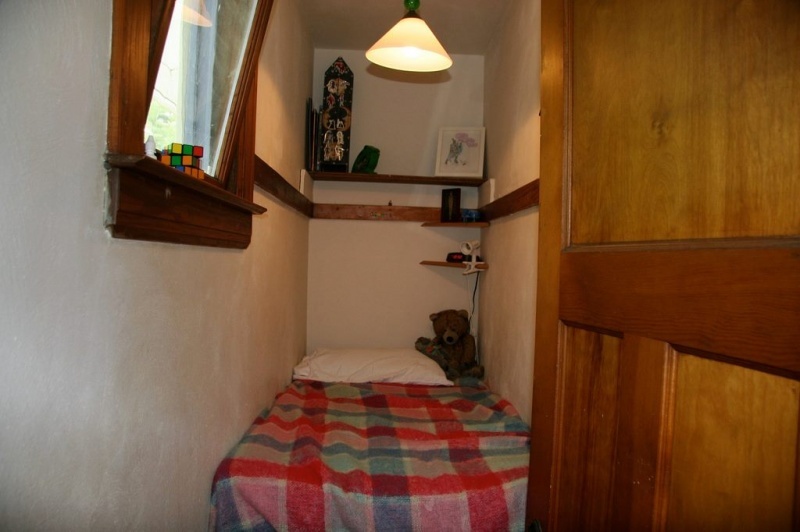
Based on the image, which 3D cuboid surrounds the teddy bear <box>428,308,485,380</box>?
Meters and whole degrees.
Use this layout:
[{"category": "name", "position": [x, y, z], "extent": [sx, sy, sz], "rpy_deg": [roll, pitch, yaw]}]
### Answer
[{"category": "teddy bear", "position": [0.322, 0.506, 3.561], "extent": [0.289, 0.428, 0.355], "rpy_deg": [-14, 16, -4]}]

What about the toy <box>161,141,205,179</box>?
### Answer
[{"category": "toy", "position": [-0.628, -0.302, 1.634], "extent": [0.093, 0.073, 0.094], "rpy_deg": [8, 5, 44]}]

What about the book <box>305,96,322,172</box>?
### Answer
[{"category": "book", "position": [-0.540, -0.799, 3.510], "extent": [0.081, 0.427, 0.184], "rpy_deg": [1, 8, -2]}]

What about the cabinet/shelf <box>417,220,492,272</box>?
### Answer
[{"category": "cabinet/shelf", "position": [0.366, -0.227, 3.584], "extent": [0.540, 0.389, 0.282], "rpy_deg": [1, 8, 4]}]

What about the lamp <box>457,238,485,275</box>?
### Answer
[{"category": "lamp", "position": [0.434, -0.053, 3.593], "extent": [0.232, 0.289, 0.111], "rpy_deg": [-1, -2, -10]}]

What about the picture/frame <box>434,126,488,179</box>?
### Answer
[{"category": "picture/frame", "position": [0.390, -0.707, 3.589], "extent": [0.332, 0.384, 0.026], "rpy_deg": [3, -15, 4]}]
